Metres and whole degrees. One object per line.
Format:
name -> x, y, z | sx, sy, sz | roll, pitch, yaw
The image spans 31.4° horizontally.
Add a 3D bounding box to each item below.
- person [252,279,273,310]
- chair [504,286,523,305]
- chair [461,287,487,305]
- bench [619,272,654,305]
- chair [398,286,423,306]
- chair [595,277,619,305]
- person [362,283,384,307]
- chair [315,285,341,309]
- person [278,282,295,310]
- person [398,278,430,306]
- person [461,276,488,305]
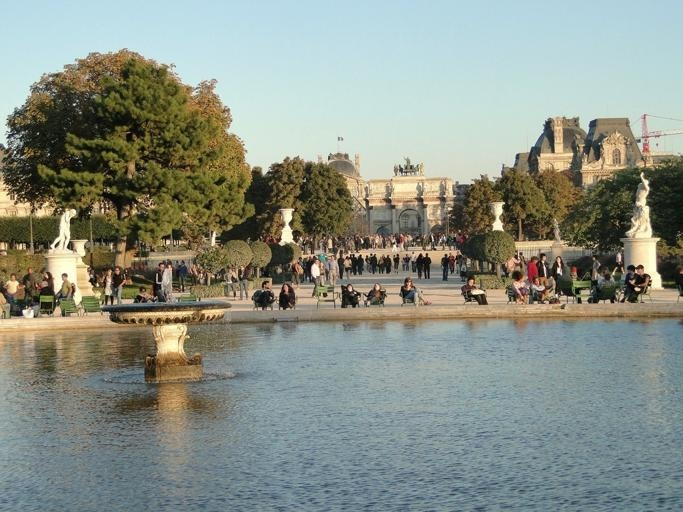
person -> -2.580, 1.254, 39.229 | 0.570, 0.656, 1.167 | 4, 22, -2
chair -> 5.186, 1.192, 36.313 | 0.453, 0.559, 0.488 | -2, -1, 37
chair -> 4.005, 1.212, 36.514 | 0.494, 0.372, 0.595 | 1, -7, -14
bench -> 8.624, 0.806, 35.759 | 0.841, 1.129, 0.604 | 9, -2, -28
chair -> 2.090, 1.238, 36.772 | 0.607, 0.521, 0.552 | 0, 9, 3
chair -> 7.899, 1.040, 36.192 | 0.698, 0.892, 0.705 | 0, 6, -2
person -> 1.002, 1.205, 36.512 | 0.427, 0.435, 0.790 | -1, -7, 16
chair -> -0.535, 1.392, 41.304 | 0.685, 1.029, 0.744 | 1, 25, 3
person -> -1.720, 1.260, 37.552 | 0.549, 1.090, 0.623 | -3, -22, 7
person -> 2.193, 1.112, 37.118 | 1.026, 1.113, 0.747 | -4, 2, 22
person -> 4.144, 1.055, 36.871 | 0.834, 1.086, 0.819 | 1, -5, -42
